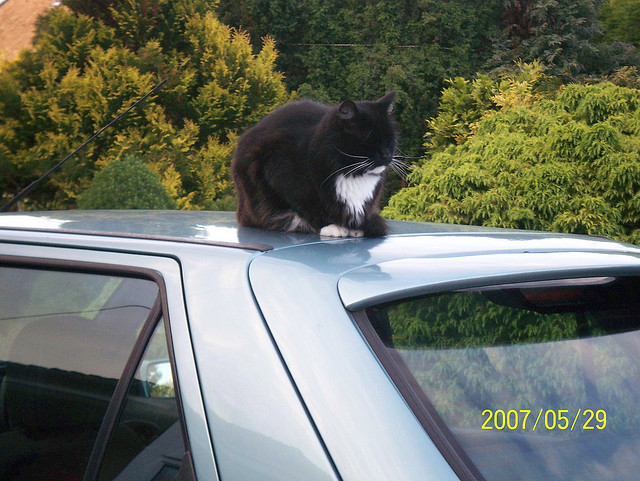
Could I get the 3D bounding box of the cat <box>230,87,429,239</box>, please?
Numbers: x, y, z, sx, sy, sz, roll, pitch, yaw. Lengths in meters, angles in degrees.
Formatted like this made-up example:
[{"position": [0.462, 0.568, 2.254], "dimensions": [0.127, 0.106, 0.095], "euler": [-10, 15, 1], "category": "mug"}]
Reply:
[{"position": [-0.034, -0.377, 3.797], "dimensions": [0.631, 0.714, 0.908], "euler": [-5, 15, -44], "category": "cat"}]
